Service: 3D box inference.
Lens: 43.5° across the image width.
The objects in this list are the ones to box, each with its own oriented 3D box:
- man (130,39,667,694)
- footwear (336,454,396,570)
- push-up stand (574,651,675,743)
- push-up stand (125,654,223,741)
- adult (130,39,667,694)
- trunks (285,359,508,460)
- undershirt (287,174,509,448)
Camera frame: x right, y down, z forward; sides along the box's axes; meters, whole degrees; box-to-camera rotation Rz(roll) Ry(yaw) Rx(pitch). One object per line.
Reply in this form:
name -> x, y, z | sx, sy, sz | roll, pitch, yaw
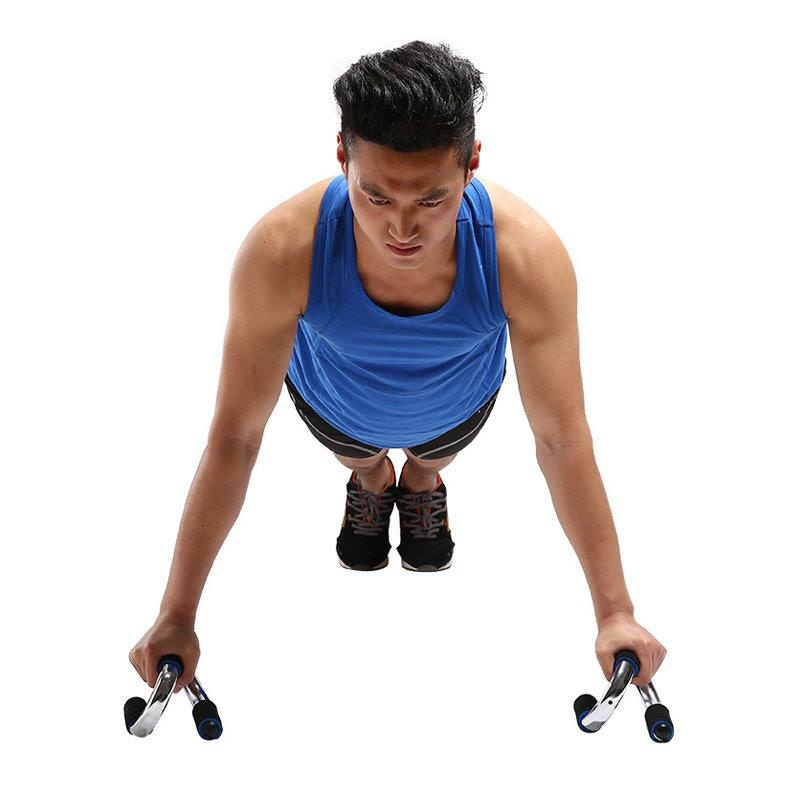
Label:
man -> -0.007, 0.108, 2.255 | 0.932, 1.142, 1.419 | -15, -40, 22
footwear -> -0.095, 0.339, 3.051 | 0.176, 0.382, 0.167 | 2, -10, -1
push-up stand -> 0.410, 0.549, 1.854 | 0.151, 0.188, 0.182 | 6, -37, -4
push-up stand -> -0.407, 0.554, 1.884 | 0.058, 0.161, 0.167 | -34, -9, -12
adult -> -0.007, 0.107, 2.255 | 0.932, 1.142, 1.417 | -15, -40, 22
trunks -> -0.033, 0.040, 2.724 | 0.552, 0.197, 0.517 | 2, -16, -5
undershirt -> 0.008, -0.217, 2.472 | 0.603, 0.381, 0.696 | -4, -33, -3
